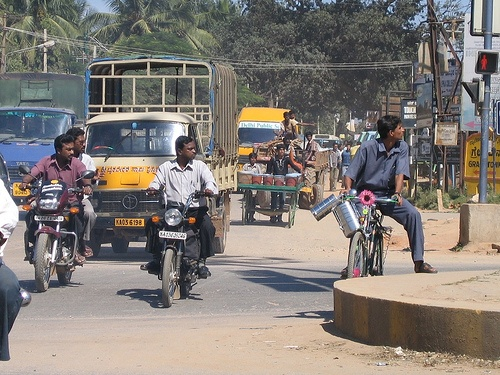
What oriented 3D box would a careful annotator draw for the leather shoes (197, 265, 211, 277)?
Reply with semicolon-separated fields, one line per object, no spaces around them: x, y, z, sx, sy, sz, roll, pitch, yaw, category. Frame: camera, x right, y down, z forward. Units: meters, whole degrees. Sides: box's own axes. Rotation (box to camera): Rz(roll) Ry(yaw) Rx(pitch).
-0.727;1.300;16.352;0.234;0.198;0.449;-1;-4;-9;leather shoes

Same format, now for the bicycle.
1.709;0.693;15.397;0.537;1.337;1.077;2;6;41;bicycle

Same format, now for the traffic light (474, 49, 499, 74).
4.436;-2.369;19.853;0.409;0.452;0.103;0;9;-12;traffic light

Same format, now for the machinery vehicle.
1.306;-0.343;30.599;1.306;1.361;2.659;1;0;9;machinery vehicle

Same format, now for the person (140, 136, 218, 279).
-1.114;0.321;16.519;0.870;2.238;1.159;0;0;-2;person

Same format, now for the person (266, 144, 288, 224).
0.682;-0.041;26.609;0.561;1.965;0.562;0;7;-7;person

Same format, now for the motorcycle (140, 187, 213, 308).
-1.080;0.938;15.953;0.640;1.487;1.901;0;1;-2;motorcycle

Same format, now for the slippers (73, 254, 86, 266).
-2.763;1.180;17.164;0.197;0.124;0.066;24;-31;-2;slippers

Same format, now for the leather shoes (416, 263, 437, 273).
2.607;1.196;15.748;0.281;0.130;0.151;-2;1;34;leather shoes

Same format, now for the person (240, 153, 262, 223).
0.031;0.031;27.008;0.503;1.746;0.473;-1;8;-5;person
